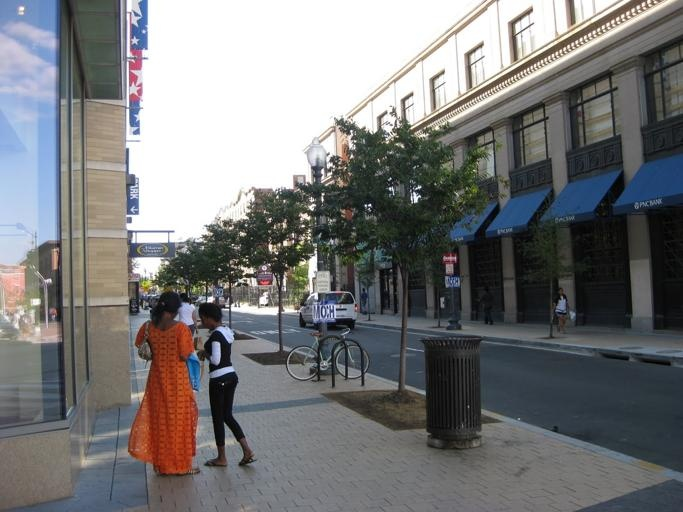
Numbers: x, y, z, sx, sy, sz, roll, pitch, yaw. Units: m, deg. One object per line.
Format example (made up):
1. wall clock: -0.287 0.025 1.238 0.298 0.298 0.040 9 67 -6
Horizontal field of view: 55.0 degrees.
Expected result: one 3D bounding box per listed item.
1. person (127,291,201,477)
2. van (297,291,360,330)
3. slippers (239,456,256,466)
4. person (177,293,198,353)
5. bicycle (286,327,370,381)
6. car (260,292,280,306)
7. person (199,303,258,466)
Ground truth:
1. person: -2.300 1.626 8.460 0.774 2.338 0.450 -3 -5 12
2. van: -0.560 2.582 32.011 1.561 1.474 3.362 0 0 -20
3. slippers: -1.281 2.745 8.850 0.246 0.121 0.094 -9 -1 -8
4. person: -4.129 1.805 17.423 0.552 1.760 0.468 1 15 -7
5. bicycle: -0.337 2.374 15.533 1.913 1.253 0.966 0 -36 -3
6. car: -9.457 5.393 84.662 2.094 2.115 3.138 -1 -6 -12
7. person: -1.600 1.713 8.958 0.657 2.186 0.400 -1 -5 -13
